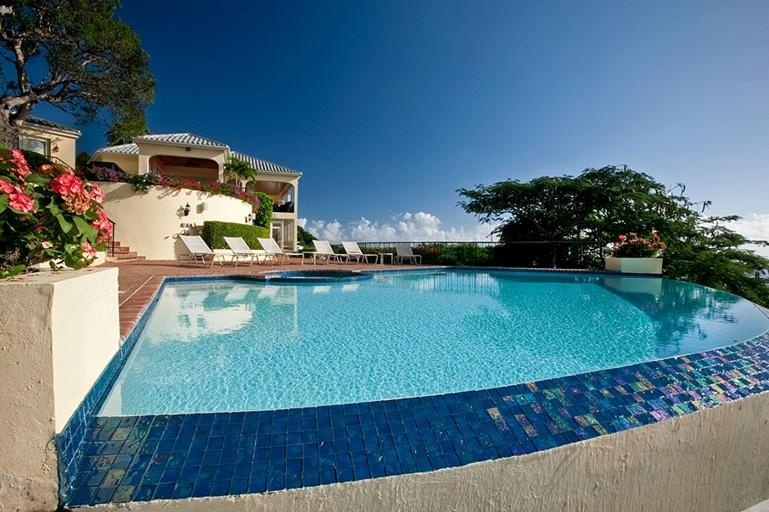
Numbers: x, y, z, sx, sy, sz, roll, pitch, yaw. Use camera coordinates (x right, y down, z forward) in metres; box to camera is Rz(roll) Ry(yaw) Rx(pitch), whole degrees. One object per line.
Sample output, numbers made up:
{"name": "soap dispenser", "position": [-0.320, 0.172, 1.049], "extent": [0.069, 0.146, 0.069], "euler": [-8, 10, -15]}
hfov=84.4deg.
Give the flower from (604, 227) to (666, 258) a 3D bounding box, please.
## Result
{"name": "flower", "position": [8.008, -0.308, 13.389], "extent": [1.019, 0.638, 1.014], "euler": [-16, -2, 2]}
